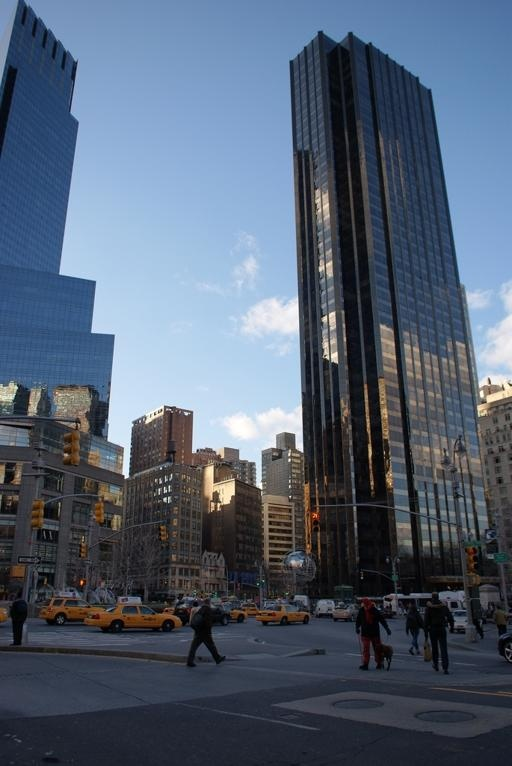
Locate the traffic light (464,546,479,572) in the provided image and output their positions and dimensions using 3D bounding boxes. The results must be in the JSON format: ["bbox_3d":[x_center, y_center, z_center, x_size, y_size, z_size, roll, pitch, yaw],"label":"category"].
[{"bbox_3d":[9.021,7.294,22.806,0.449,1.061,0.911,-5,-18,6],"label":"traffic light"}]

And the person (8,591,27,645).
[{"bbox_3d":[-7.492,7.348,17.183,0.458,1.503,2.340,4,-20,-22],"label":"person"}]

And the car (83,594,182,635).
[{"bbox_3d":[-6.915,12.903,29.983,2.235,1.639,4.931,-19,-23,37],"label":"car"}]

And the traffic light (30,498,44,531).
[{"bbox_3d":[-9.018,5.360,22.507,0.410,1.220,1.271,4,-20,-22],"label":"traffic light"}]

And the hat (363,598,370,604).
[{"bbox_3d":[2.416,4.790,12.057,0.146,0.136,0.271,-7,-19,10],"label":"hat"}]

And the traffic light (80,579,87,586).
[{"bbox_3d":[-13.011,14.914,41.059,0.351,0.533,1.245,1,-19,-15],"label":"traffic light"}]

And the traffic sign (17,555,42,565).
[{"bbox_3d":[-10.299,7.991,24.809,0.871,0.390,1.285,5,-21,-26],"label":"traffic sign"}]

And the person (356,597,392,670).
[{"bbox_3d":[2.665,5.767,12.654,0.692,1.630,2.247,-6,-18,9],"label":"person"}]

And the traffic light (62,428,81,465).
[{"bbox_3d":[-5.797,1.909,17.126,0.432,0.918,1.585,3,-20,-19],"label":"traffic light"}]

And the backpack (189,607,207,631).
[{"bbox_3d":[-1.346,5.483,12.762,0.369,0.490,0.357,-1,-18,-9],"label":"backpack"}]
